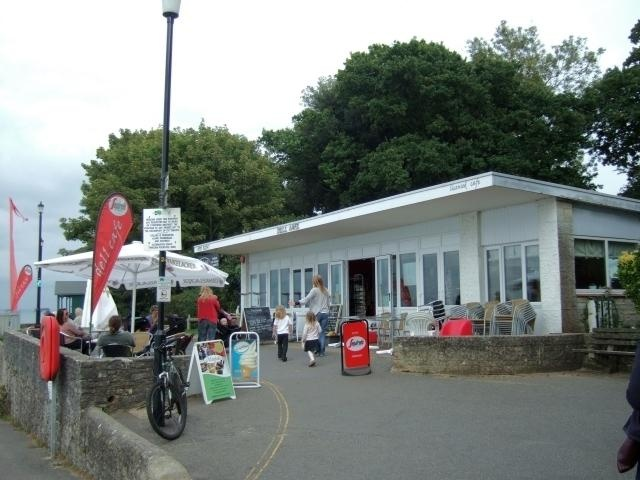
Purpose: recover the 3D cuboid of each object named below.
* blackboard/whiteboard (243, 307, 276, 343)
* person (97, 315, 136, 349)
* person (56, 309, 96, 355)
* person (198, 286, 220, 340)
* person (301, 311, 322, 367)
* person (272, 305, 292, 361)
[{"bbox_3d":[-2.169,2.914,22.130,1.073,1.389,0.780,-1,42,-3],"label":"blackboard/whiteboard"},{"bbox_3d":[-3.905,1.720,11.710,0.710,0.722,0.360,0,16,-23],"label":"person"},{"bbox_3d":[-5.729,2.255,14.352,0.528,1.426,0.687,-2,13,35],"label":"person"},{"bbox_3d":[-2.727,1.861,15.265,0.602,1.423,1.318,-1,2,-12],"label":"person"},{"bbox_3d":[-0.198,2.536,15.771,0.605,1.360,0.644,-1,2,-9],"label":"person"},{"bbox_3d":[-1.012,2.524,16.629,0.434,1.596,1.125,-1,2,-3],"label":"person"}]
